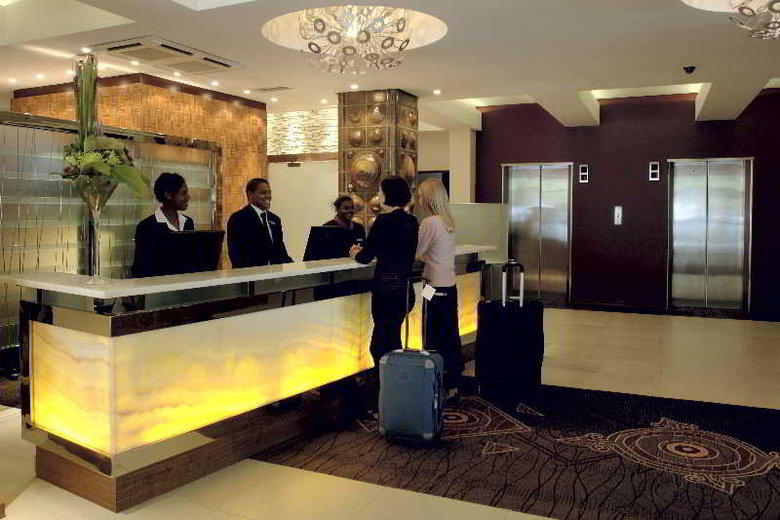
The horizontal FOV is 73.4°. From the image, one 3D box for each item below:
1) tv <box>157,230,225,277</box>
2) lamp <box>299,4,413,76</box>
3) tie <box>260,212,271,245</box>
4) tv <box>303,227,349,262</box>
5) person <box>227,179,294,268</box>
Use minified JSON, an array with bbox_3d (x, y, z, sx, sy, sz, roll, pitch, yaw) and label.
[{"bbox_3d":[-1.736,-0.058,4.633,0.495,0.454,0.388,3,22,-38],"label":"tv"},{"bbox_3d":[-0.319,-2.491,5.774,0.884,0.311,0.894,-4,-6,37],"label":"lamp"},{"bbox_3d":[-1.416,-0.352,6.035,0.075,0.404,0.100,-12,-1,-8],"label":"tie"},{"bbox_3d":[-0.718,-0.127,6.008,0.497,0.455,0.386,3,10,-20],"label":"tv"},{"bbox_3d":[-1.509,-0.426,5.935,0.658,0.978,0.330,-7,10,-41],"label":"person"}]
